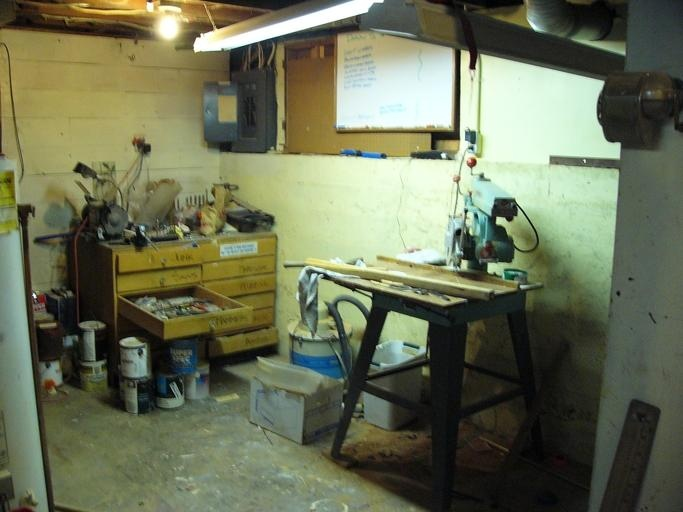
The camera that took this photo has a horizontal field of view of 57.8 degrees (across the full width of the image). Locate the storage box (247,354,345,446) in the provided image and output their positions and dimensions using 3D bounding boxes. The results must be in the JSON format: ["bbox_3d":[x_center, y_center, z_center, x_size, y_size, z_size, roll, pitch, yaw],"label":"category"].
[{"bbox_3d":[-0.309,0.944,4.281,0.517,0.495,0.392,10,12,43],"label":"storage box"}]

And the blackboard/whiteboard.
[{"bbox_3d":[0.353,-1.274,4.430,0.071,0.733,1.101,-12,15,-43],"label":"blackboard/whiteboard"}]

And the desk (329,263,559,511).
[{"bbox_3d":[0.471,0.689,4.032,1.248,1.493,1.331,-8,16,-41],"label":"desk"}]

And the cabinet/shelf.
[{"bbox_3d":[-1.254,0.393,4.917,1.085,0.891,1.475,-5,9,-38],"label":"cabinet/shelf"}]

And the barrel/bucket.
[{"bbox_3d":[-0.142,0.630,4.667,0.430,0.443,0.445,0,11,0],"label":"barrel/bucket"}]
